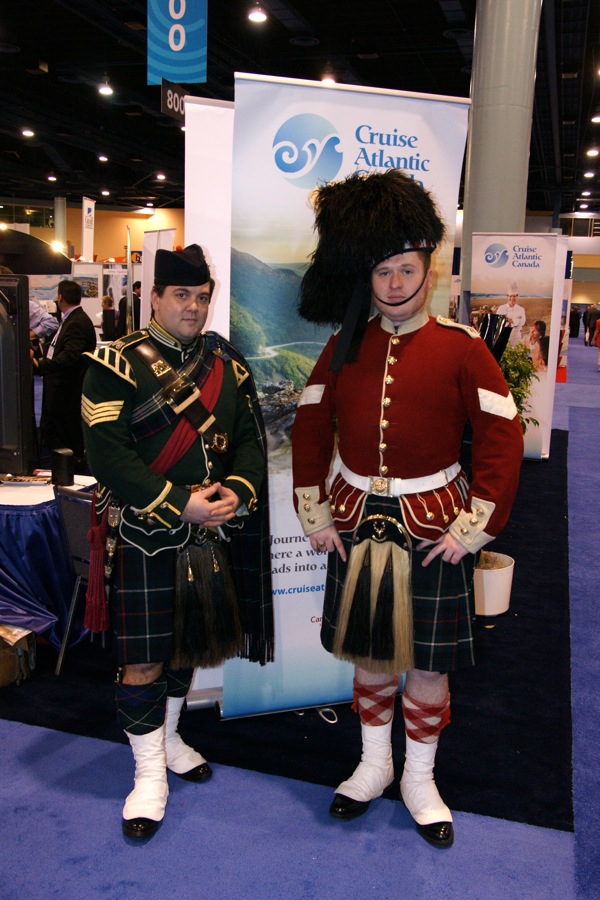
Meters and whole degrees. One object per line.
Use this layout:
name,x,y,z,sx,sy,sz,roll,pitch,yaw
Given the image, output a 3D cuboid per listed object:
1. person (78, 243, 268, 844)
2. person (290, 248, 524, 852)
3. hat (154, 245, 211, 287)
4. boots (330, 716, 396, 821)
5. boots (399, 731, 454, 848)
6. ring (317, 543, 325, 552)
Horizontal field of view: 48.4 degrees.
person,-0.283,0.211,1.664,0.535,1.413,0.377,0,3,-32
person,0.242,0.252,1.565,0.340,1.366,0.529,-1,4,-41
hat,-0.261,-0.415,1.490,0.087,0.073,0.113,-4,19,-13
boots,0.162,0.813,1.729,0.214,0.203,0.091,-11,11,-44
boots,0.279,0.846,1.643,0.090,0.175,0.252,-1,1,-6
ring,0.052,0.234,1.611,0.022,0.015,0.036,0,-9,1
